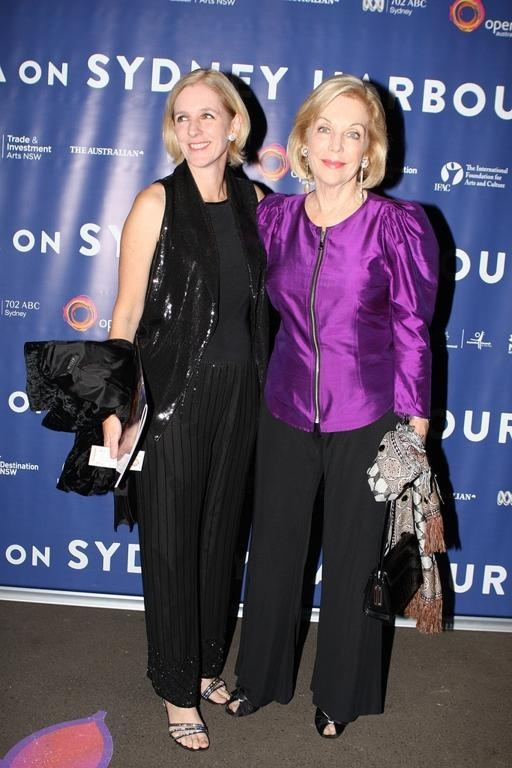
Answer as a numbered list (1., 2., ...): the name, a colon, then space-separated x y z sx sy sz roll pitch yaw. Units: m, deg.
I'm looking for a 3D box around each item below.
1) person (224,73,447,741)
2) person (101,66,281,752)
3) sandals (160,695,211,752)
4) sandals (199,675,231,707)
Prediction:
1. person: 0.153 0.128 1.624 0.497 1.723 0.479 3 7 8
2. person: -0.170 0.104 1.650 0.299 1.828 0.455 8 8 39
3. sandals: -0.190 0.956 1.717 0.060 0.074 0.174 -1 3 -22
4. sandals: -0.133 0.968 1.910 0.056 0.034 0.103 -24 59 -40
